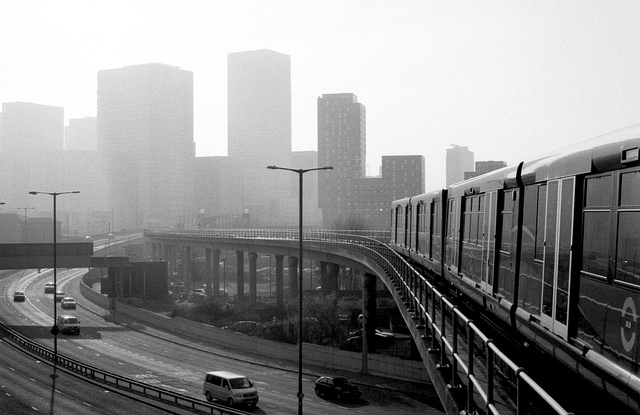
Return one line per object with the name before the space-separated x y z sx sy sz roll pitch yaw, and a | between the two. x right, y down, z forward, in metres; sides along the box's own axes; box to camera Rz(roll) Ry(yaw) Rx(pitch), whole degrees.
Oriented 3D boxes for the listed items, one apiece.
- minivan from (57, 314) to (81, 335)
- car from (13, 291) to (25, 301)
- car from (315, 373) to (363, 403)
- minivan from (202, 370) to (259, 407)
minivan | -24.877 11.558 66.023 1.931 1.723 3.257 3 -10 -28
car | -39.309 11.688 87.174 1.135 1.512 1.570 -3 -1 -17
car | 1.042 11.555 42.641 1.395 1.160 2.416 3 -8 -41
minivan | -5.223 10.774 39.816 1.585 1.451 2.903 5 -8 -39
